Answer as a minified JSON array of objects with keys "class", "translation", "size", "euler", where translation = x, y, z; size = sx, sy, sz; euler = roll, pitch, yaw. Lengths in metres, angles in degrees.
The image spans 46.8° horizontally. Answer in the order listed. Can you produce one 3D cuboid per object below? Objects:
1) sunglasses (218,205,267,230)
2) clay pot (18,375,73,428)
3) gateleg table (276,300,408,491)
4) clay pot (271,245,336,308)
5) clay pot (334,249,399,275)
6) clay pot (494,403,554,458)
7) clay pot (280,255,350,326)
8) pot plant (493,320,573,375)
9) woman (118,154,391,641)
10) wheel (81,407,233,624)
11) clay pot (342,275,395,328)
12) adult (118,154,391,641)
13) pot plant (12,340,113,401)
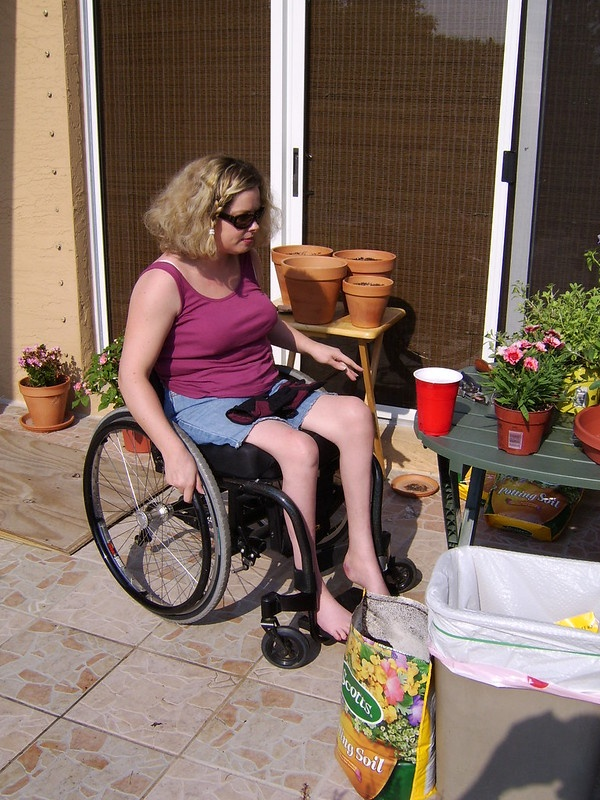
[{"class":"sunglasses","translation":[-0.150,-0.483,1.852],"size":[0.093,0.028,0.078],"euler":[17,35,25]},{"class":"clay pot","translation":[-1.258,0.002,3.602],"size":[0.286,0.239,0.257],"euler":[2,13,0]},{"class":"gateleg table","translation":[0.275,-0.050,2.883],"size":[0.679,0.887,0.674],"euler":[1,21,12]},{"class":"clay pot","translation":[-0.026,-0.502,2.827],"size":[0.273,0.251,0.270],"euler":[-1,17,0]},{"class":"clay pot","translation":[0.257,-0.549,2.746],"size":[0.182,0.079,0.179],"euler":[0,13,0]},{"class":"clay pot","translation":[0.554,0.075,1.792],"size":[0.138,0.100,0.139],"euler":[1,9,0]},{"class":"clay pot","translation":[0.055,-0.411,2.709],"size":[0.281,0.220,0.264],"euler":[0,27,0]},{"class":"pot plant","translation":[0.588,-0.136,1.814],"size":[0.171,0.098,0.182],"euler":[-30,39,-28]},{"class":"woman","translation":[-0.119,0.003,1.976],"size":[0.693,1.320,0.758],"euler":[2,19,1]},{"class":"wheel","translation":[-0.435,0.382,2.116],"size":[0.473,0.456,0.475],"euler":[-22,-9,-4]},{"class":"clay pot","translation":[0.238,-0.368,2.574],"size":[0.213,0.165,0.199],"euler":[-1,12,0]},{"class":"adult","translation":[-0.117,0.003,1.976],"size":[0.695,1.320,0.758],"euler":[2,19,2]},{"class":"pot plant","translation":[-1.168,-0.071,3.447],"size":[0.404,0.284,0.445],"euler":[6,15,-19]}]
